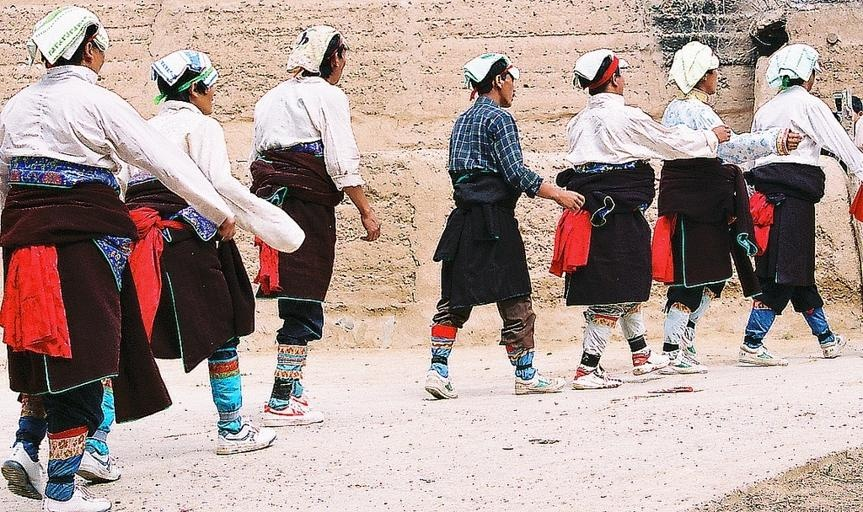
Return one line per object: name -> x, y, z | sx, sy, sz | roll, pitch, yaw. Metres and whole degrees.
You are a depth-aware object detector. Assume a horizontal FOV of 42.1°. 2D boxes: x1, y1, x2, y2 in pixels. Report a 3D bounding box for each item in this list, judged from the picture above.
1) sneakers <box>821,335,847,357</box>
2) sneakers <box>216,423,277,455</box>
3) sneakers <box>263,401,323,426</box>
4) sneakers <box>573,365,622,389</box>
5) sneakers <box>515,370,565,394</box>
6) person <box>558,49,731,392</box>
sneakers -> 4.058, 0.901, 11.299 | 0.132, 0.142, 0.371 | 1, 22, 39
sneakers -> -1.463, 1.424, 8.759 | 0.571, 0.190, 0.186 | -2, 1, -21
sneakers -> -1.156, 1.330, 9.471 | 0.574, 0.180, 0.185 | 0, -2, -9
sneakers -> 1.473, 1.110, 10.247 | 0.542, 0.181, 0.171 | 0, -2, -7
sneakers -> 0.968, 1.144, 10.164 | 0.509, 0.175, 0.164 | -1, -1, -10
person -> 1.737, -0.360, 10.240 | 1.335, 3.031, 0.673 | -8, 11, -8
